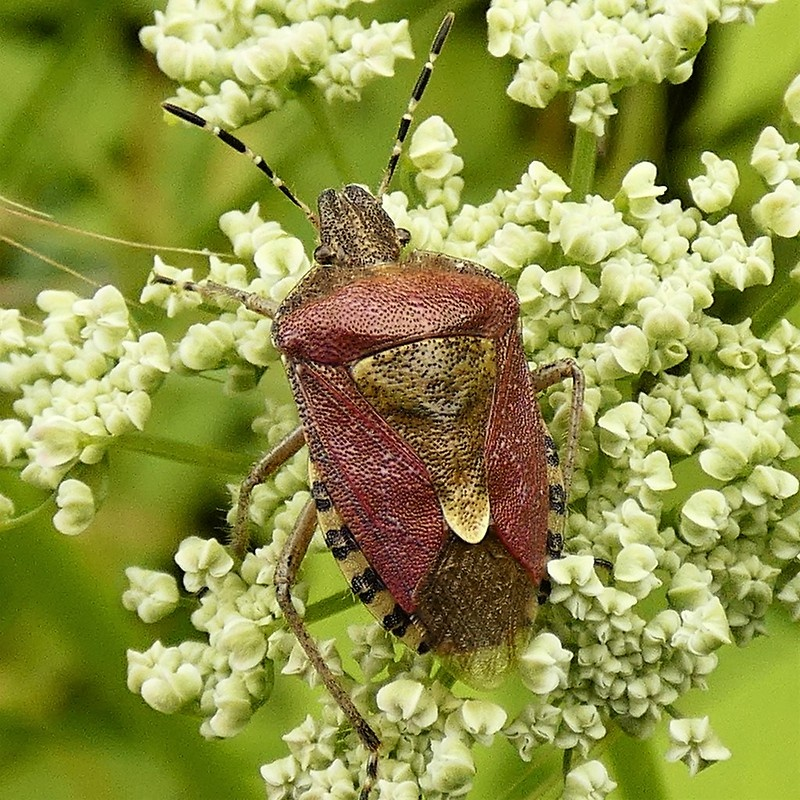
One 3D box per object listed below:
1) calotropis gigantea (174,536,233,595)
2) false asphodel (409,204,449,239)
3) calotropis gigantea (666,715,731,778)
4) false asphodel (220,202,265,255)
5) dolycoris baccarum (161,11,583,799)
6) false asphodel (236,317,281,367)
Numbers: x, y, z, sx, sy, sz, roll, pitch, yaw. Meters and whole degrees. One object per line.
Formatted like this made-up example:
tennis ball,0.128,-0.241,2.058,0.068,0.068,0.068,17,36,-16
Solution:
calotropis gigantea,-0.760,0.632,4.735,0.185,0.104,0.227,-24,85,-4
false asphodel,0.116,-0.701,4.917,0.137,0.051,0.153,-15,83,-27
calotropis gigantea,1.044,1.214,4.320,0.210,0.164,0.190,-1,77,3
false asphodel,1.023,1.220,4.287,0.190,0.210,0.062,10,107,-10
dolycoris baccarum,0.070,0.377,5.039,1.318,0.586,2.121,-15,75,-3
false asphodel,-0.105,0.910,4.596,0.194,0.221,0.071,10,74,2
